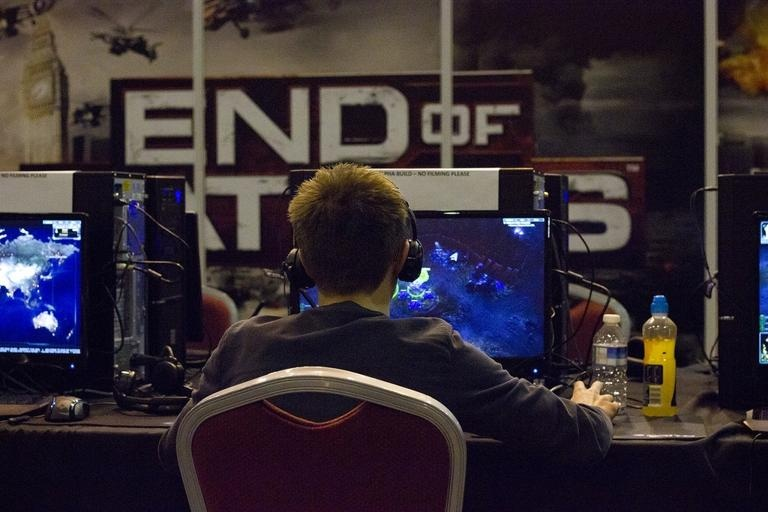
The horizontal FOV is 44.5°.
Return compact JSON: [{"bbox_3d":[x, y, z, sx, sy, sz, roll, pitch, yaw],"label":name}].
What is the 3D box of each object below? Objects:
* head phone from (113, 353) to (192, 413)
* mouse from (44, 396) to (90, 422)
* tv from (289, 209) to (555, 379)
[{"bbox_3d":[-1.035,0.575,4.297,0.340,0.194,0.241,-1,7,11],"label":"head phone"},{"bbox_3d":[-1.389,0.677,4.142,0.147,0.087,0.106,0,4,-9],"label":"mouse"},{"bbox_3d":[0.177,0.161,3.900,0.805,0.553,0.036,0,0,5],"label":"tv"}]
